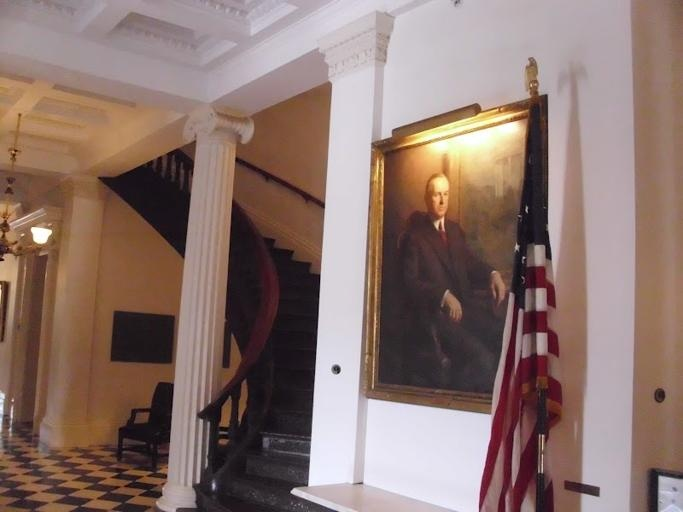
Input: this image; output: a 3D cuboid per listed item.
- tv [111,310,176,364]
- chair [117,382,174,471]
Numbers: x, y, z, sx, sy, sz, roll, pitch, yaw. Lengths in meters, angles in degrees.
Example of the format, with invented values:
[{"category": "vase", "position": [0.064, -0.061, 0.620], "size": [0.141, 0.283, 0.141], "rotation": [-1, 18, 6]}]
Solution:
[{"category": "tv", "position": [-3.489, 1.447, 10.150], "size": [0.824, 0.765, 0.113], "rotation": [9, -19, -35]}, {"category": "chair", "position": [-3.091, 2.514, 8.890], "size": [0.760, 1.096, 0.836], "rotation": [-3, -13, 35]}]
